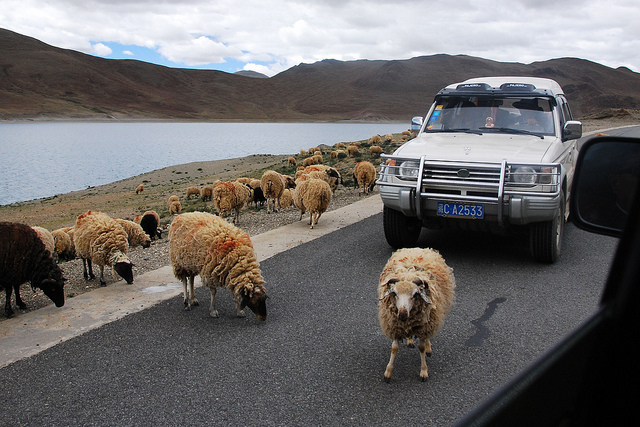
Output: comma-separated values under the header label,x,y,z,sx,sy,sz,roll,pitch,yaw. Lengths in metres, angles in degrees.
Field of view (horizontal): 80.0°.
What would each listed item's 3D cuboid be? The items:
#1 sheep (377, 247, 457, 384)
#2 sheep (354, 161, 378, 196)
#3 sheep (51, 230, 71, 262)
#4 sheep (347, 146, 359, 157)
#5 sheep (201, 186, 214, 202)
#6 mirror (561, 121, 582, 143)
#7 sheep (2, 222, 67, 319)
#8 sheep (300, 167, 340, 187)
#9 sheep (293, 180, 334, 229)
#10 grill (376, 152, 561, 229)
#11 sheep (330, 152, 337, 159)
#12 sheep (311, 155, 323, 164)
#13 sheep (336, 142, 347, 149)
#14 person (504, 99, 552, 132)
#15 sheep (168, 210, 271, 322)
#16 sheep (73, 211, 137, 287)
label,x,y,z,sx,sy,sz,roll,pitch,yaw
sheep,1.199,1.265,4.833,0.913,1.123,1.462,2,14,19
sheep,2.100,-1.601,17.604,0.960,1.476,1.131,-2,14,6
sheep,-8.955,1.114,13.160,0.620,1.071,1.862,-2,5,-31
sheep,2.745,-5.276,32.366,0.799,0.688,1.195,0,13,10
sheep,-7.823,-1.381,26.545,0.726,0.930,1.632,-7,14,-15
mirror,5.110,-1.667,7.799,0.726,0.406,0.117,-12,20,-31
sheep,-5.161,0.987,6.799,0.858,1.601,1.149,-13,17,-34
sheep,0.051,-1.444,15.780,1.689,0.798,0.729,-12,28,-36
sheep,-0.229,-0.300,11.626,0.745,1.394,1.262,-11,16,-29
grill,2.899,-0.664,7.491,3.754,1.145,1.405,4,7,21
sheep,1.060,-4.635,31.052,0.475,0.507,0.557,0,14,13
sheep,-0.160,-3.788,27.119,0.609,0.563,1.146,-4,13,-4
sheep,2.330,-7.259,41.213,0.553,0.872,1.732,3,10,-28
person,4.576,-2.110,8.355,0.957,0.786,0.222,11,-7,18
sheep,-1.700,0.888,6.359,2.074,1.554,0.989,9,19,41
sheep,-4.814,0.833,8.472,2.191,1.460,0.891,11,11,38
